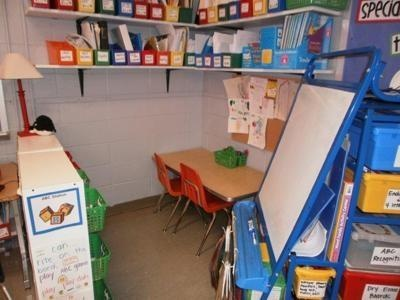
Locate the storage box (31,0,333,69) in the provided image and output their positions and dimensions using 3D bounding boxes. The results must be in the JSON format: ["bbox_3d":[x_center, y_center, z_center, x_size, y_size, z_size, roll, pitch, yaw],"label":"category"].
[{"bbox_3d":[-0.262,-1.091,2.828,2.623,0.606,1.002,1,21,10],"label":"storage box"}]

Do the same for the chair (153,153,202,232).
[{"bbox_3d":[-0.229,0.435,3.469,0.621,0.838,0.626,3,18,0],"label":"chair"}]

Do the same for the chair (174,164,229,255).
[{"bbox_3d":[0.026,0.566,3.082,0.582,0.864,0.560,-8,15,-28],"label":"chair"}]

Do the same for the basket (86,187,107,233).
[{"bbox_3d":[-0.721,0.420,2.105,0.211,0.165,0.334,-4,8,-26],"label":"basket"}]
